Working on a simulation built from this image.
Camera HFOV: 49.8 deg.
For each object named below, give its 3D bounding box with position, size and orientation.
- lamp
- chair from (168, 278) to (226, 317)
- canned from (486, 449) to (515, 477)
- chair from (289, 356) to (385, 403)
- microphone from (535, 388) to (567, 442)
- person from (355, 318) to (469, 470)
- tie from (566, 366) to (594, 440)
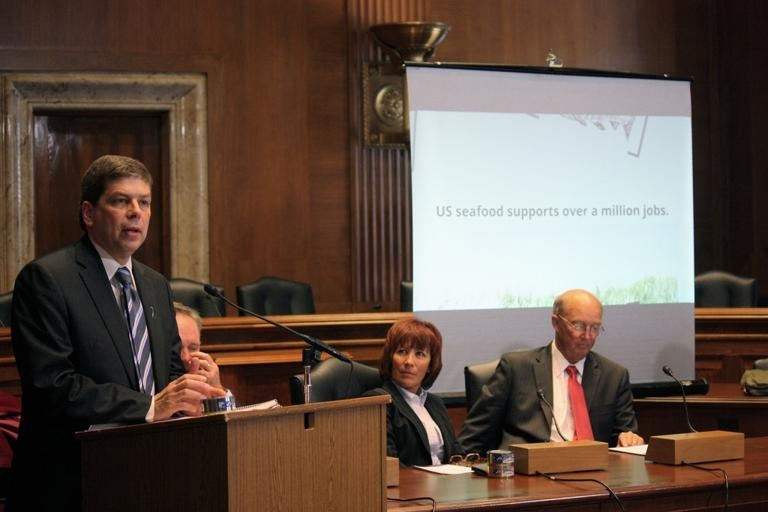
[{"bbox_3d":[0.150,-1.627,7.879,0.776,1.181,0.414,-3,-1,43],"label":"lamp"},{"bbox_3d":[-1.264,0.288,5.547,0.246,0.365,0.273,3,-9,-34],"label":"chair"},{"bbox_3d":[0.535,0.950,3.808,0.105,0.104,0.108,4,-7,-43],"label":"canned"},{"bbox_3d":[-0.242,0.659,4.336,0.289,0.402,0.310,2,-10,-42],"label":"chair"},{"bbox_3d":[0.870,0.838,4.291,0.149,0.282,0.363,-2,-1,10],"label":"microphone"},{"bbox_3d":[0.151,0.814,4.334,0.560,0.913,0.468,16,-33,-33],"label":"person"},{"bbox_3d":[1.053,0.789,4.455,0.123,0.399,0.136,-2,0,7],"label":"tie"}]
